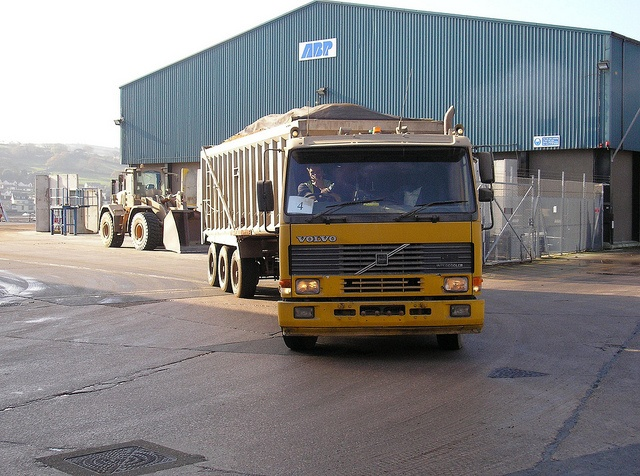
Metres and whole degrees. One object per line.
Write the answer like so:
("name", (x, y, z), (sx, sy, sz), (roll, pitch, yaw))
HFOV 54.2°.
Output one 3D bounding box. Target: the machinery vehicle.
("machinery vehicle", (-8.441, -1.517, 31.863), (6.595, 4.114, 2.914), (4, 4, 36))
